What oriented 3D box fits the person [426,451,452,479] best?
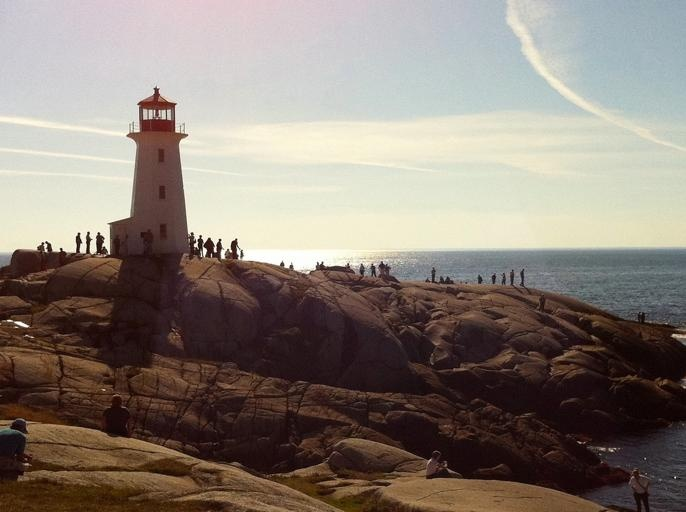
[{"bbox_3d":[4.336,9.410,37.580,1.013,1.416,3.028,0,-1,7],"label":"person"}]
